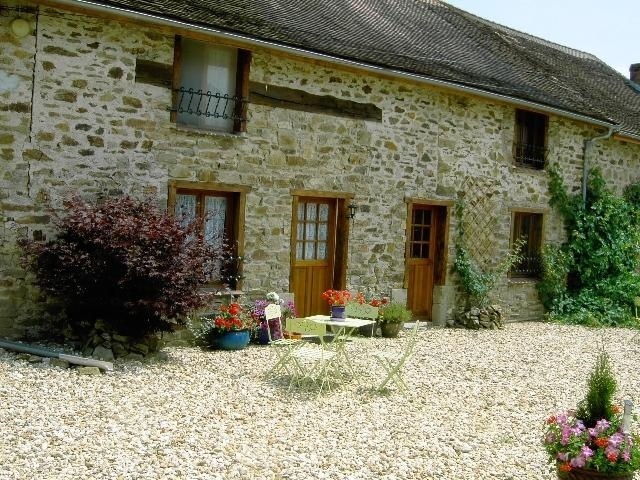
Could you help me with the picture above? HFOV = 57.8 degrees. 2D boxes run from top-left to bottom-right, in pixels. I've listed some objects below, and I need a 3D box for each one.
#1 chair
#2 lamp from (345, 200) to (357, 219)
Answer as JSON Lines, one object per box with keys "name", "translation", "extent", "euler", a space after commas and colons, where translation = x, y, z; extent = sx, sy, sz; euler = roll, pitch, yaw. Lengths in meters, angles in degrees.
{"name": "chair", "translation": [0.212, 1.405, 7.166], "extent": [1.257, 0.597, 1.254], "euler": [0, 1, 22]}
{"name": "lamp", "translation": [0.519, -0.493, 9.561], "extent": [0.260, 0.338, 0.228], "euler": [-1, 6, -4]}
